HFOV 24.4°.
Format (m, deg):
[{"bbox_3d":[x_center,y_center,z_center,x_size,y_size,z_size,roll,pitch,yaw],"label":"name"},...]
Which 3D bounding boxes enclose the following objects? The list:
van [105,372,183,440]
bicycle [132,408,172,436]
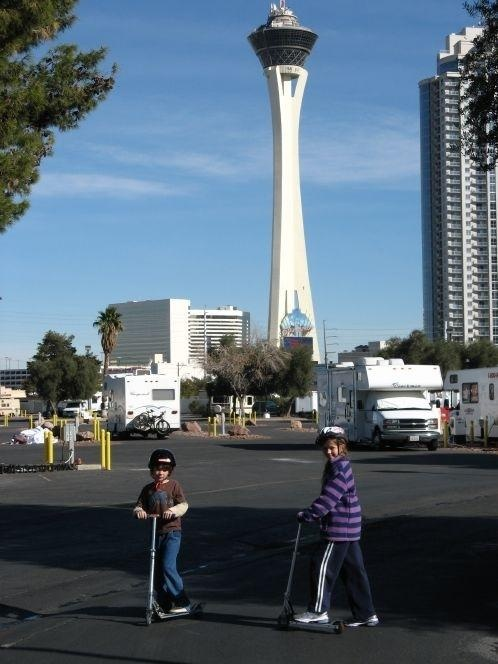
[{"bbox_3d":[-3.490,2.553,39.091,2.529,2.226,0.982,0,-3,0],"label":"van"},{"bbox_3d":[-3.252,3.078,38.727,0.947,0.885,1.823,-4,-5,23],"label":"bicycle"}]
